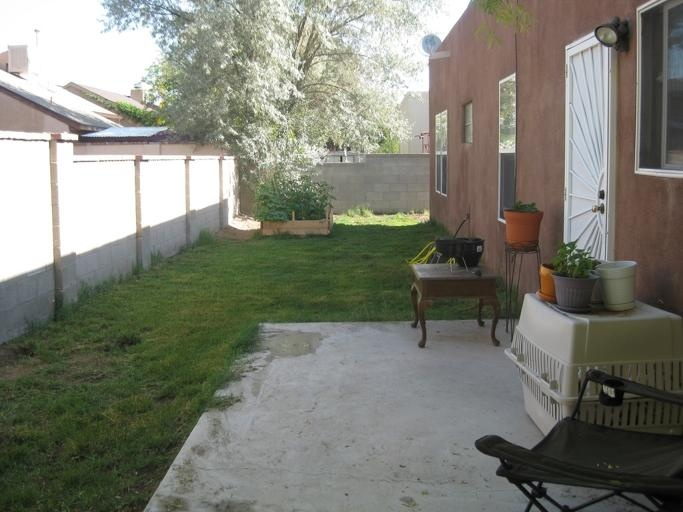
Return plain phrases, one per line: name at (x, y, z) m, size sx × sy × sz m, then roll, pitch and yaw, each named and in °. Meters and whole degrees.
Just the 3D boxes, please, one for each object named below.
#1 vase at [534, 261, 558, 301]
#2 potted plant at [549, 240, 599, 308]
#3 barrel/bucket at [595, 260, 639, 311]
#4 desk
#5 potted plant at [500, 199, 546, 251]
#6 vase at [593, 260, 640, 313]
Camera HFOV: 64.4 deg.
vase at (1.434, 0.178, 3.724) m, size 0.178 × 0.227 × 0.208 m, roll 0°, pitch 0°, yaw 0°
potted plant at (1.504, 0.118, 3.495) m, size 0.278 × 0.396 × 0.439 m, roll 3°, pitch 9°, yaw 26°
barrel/bucket at (1.725, 0.185, 3.484) m, size 0.261 × 0.345 × 0.284 m, roll -1°, pitch -2°, yaw 0°
desk at (1.102, 0.365, 5.436) m, size 0.683 × 0.745 × 0.850 m, roll -2°, pitch 8°, yaw -7°
potted plant at (1.831, -0.322, 5.447) m, size 0.400 × 0.541 × 0.429 m, roll 2°, pitch 5°, yaw 30°
vase at (1.735, 0.187, 3.407) m, size 0.264 × 0.351 × 0.288 m, roll -1°, pitch -1°, yaw 10°
